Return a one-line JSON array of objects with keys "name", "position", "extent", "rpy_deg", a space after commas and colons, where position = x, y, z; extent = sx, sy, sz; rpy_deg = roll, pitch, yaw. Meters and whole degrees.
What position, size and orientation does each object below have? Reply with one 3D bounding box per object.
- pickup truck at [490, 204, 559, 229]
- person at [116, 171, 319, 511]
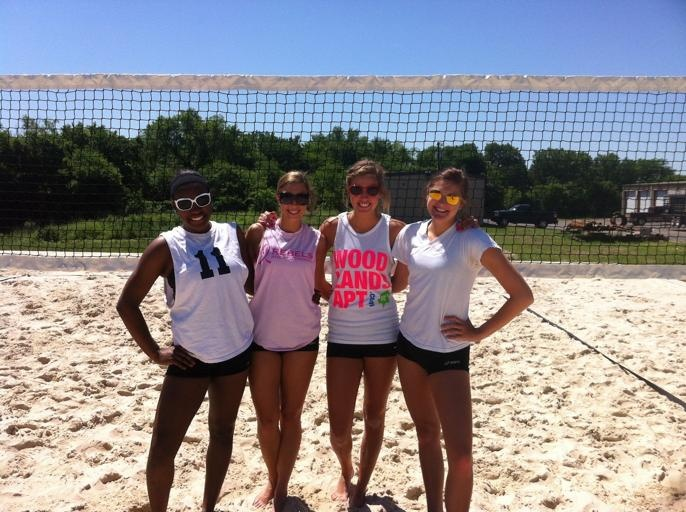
[{"name": "pickup truck", "position": [8.048, -1.723, 28.116], "extent": [3.075, 1.324, 1.598], "rpy_deg": [2, 9, -1]}, {"name": "person", "position": [-1.265, 0.738, 5.255], "extent": [1.028, 2.816, 0.573], "rpy_deg": [-4, 9, -12]}]
